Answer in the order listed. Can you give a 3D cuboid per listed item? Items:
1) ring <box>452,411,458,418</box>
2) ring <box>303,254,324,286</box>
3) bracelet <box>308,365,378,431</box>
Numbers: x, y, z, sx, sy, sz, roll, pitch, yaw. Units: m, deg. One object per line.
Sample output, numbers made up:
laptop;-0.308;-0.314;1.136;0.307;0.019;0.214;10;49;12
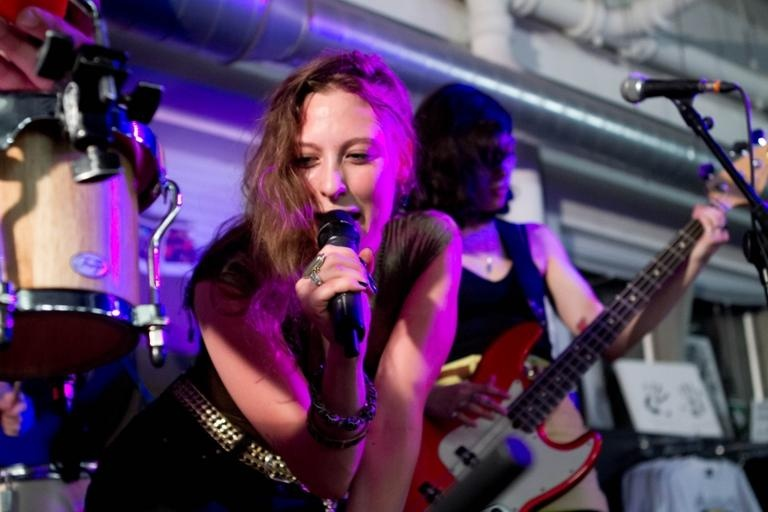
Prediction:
ring;0.217;0.478;2.271;0.020;0.020;0.005;-1;-2;-2
ring;-0.160;0.030;1.700;0.046;0.065;0.021;10;9;23
bracelet;-0.107;0.366;1.907;0.196;0.072;0.235;-4;4;-7
